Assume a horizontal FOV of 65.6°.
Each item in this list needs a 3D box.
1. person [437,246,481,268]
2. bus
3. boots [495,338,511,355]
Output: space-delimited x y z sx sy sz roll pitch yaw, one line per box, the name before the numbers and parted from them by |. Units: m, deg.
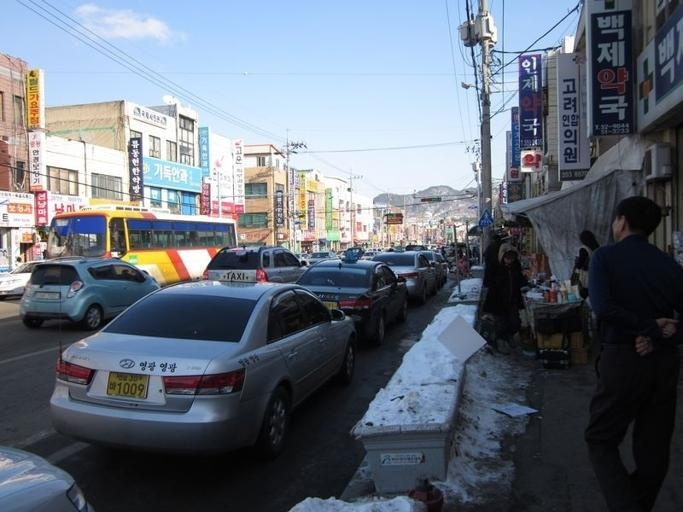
person | 7.298 0.068 32.639 2.196 1.094 1.304 -9 10 -38
bus | -8.678 -0.350 24.407 2.620 3.004 10.926 -2 -1 11
boots | 3.054 1.700 9.997 0.268 0.235 0.417 -2 2 17
